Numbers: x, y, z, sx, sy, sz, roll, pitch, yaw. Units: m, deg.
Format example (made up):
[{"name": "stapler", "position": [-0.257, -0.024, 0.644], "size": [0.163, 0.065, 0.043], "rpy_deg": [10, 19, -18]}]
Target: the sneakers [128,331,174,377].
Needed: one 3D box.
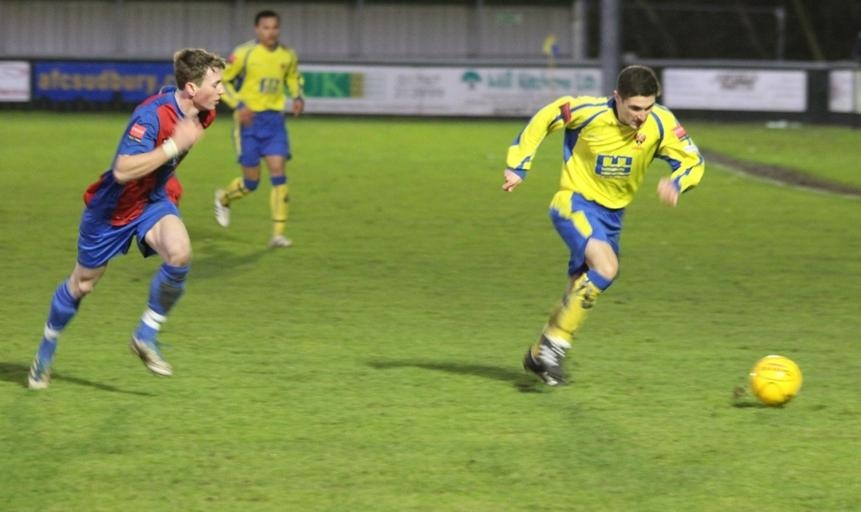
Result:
[{"name": "sneakers", "position": [-2.012, 0.720, 6.914], "size": [0.367, 0.204, 0.140], "rpy_deg": [35, -20, -5]}]

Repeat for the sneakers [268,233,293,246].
[{"name": "sneakers", "position": [-1.645, -0.179, 10.565], "size": [0.195, 0.106, 0.121], "rpy_deg": [-2, 14, -9]}]

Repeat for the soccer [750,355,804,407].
[{"name": "soccer", "position": [2.465, 0.889, 6.839], "size": [0.360, 0.339, 0.335], "rpy_deg": [12, 3, 19]}]

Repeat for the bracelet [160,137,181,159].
[{"name": "bracelet", "position": [-1.747, -0.725, 6.504], "size": [0.111, 0.131, 0.137], "rpy_deg": [-25, -22, 1]}]

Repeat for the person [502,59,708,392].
[{"name": "person", "position": [1.230, -0.109, 7.039], "size": [1.335, 2.092, 0.651], "rpy_deg": [3, 13, 11]}]

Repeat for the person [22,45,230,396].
[{"name": "person", "position": [-2.105, -0.240, 6.765], "size": [1.348, 2.396, 0.526], "rpy_deg": [-2, 13, -10]}]

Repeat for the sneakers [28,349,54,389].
[{"name": "sneakers", "position": [-2.782, 0.802, 6.813], "size": [0.130, 0.318, 0.141], "rpy_deg": [11, 45, -11]}]
